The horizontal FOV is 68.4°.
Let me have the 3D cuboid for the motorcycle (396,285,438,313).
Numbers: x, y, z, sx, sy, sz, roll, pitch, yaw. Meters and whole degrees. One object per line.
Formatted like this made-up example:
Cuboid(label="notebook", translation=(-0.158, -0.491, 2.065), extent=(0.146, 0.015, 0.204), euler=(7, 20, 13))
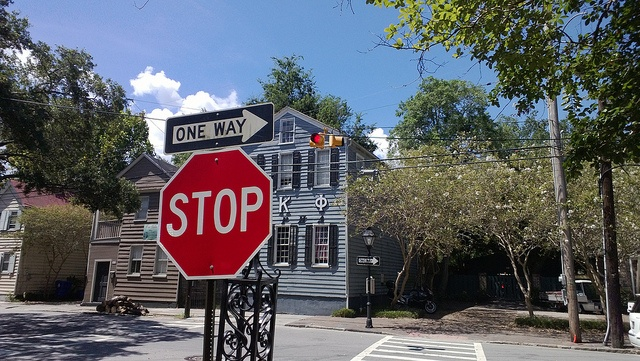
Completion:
Cuboid(label="motorcycle", translation=(6.736, 8.147, 32.156), extent=(2.248, 1.618, 0.792), euler=(0, -2, 13))
